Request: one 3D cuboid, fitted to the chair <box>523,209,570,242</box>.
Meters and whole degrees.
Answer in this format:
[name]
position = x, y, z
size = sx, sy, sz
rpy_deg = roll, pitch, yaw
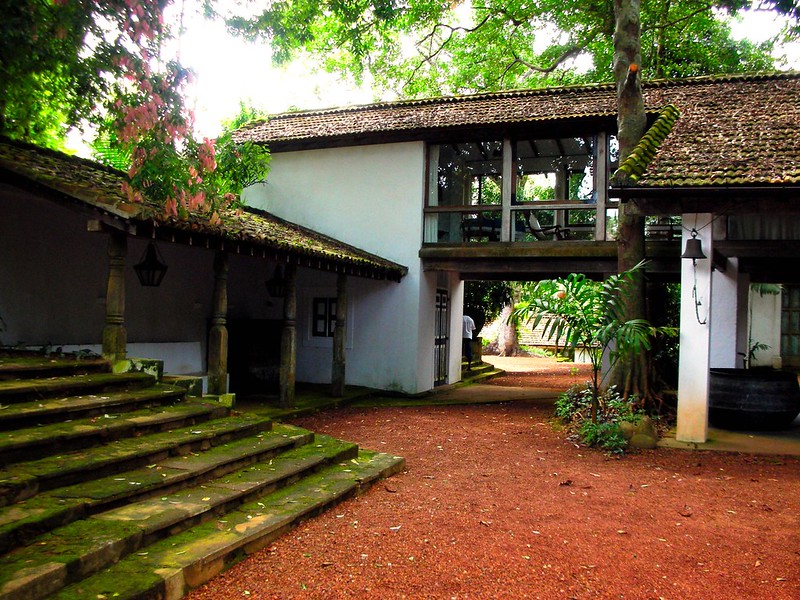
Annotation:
[chair]
position = 3.439, -1.692, 13.833
size = 0.967, 0.831, 3.045
rpy_deg = 1, 1, 12
